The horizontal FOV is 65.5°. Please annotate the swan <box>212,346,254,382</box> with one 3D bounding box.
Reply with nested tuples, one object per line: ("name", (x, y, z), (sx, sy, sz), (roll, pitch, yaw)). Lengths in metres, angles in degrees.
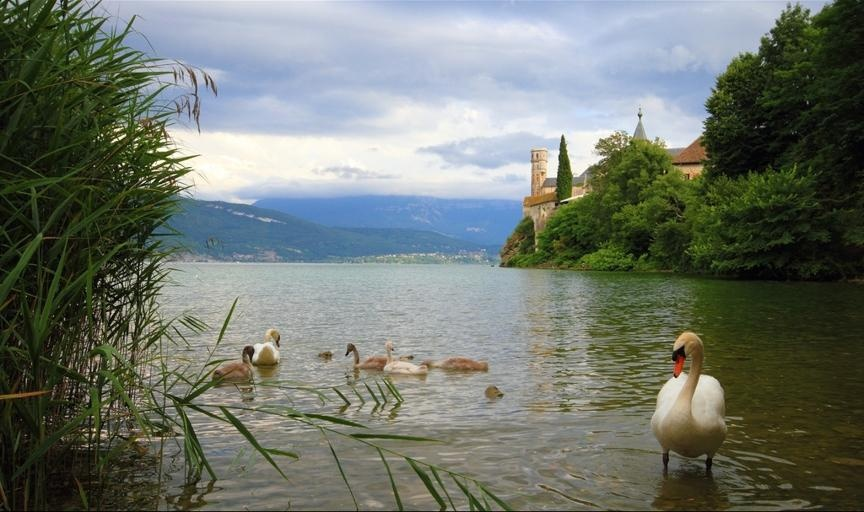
("swan", (-6.298, 3.457, 21.454), (1.120, 1.096, 1.581), (6, 1, 31))
